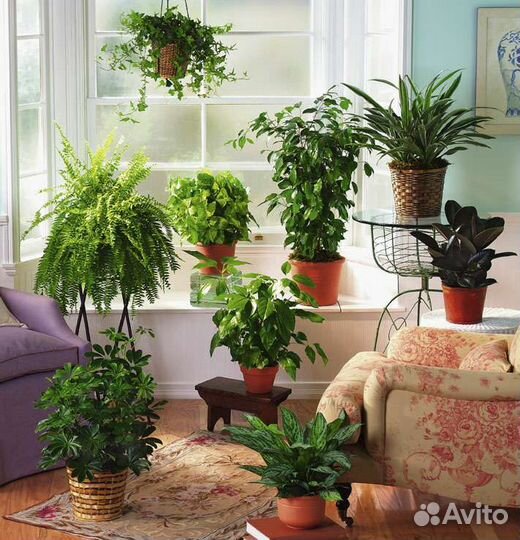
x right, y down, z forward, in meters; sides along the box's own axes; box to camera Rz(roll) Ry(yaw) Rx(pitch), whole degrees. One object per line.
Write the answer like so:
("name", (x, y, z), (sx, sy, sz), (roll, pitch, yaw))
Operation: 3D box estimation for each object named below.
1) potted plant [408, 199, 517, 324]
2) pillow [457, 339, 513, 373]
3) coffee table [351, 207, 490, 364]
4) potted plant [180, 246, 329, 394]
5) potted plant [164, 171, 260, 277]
("potted plant", (0.834, -0.034, 2.180), (0.347, 0.529, 0.427), (2, 6, 33))
("pillow", (0.698, 0.241, 1.670), (0.123, 0.042, 0.155), (-25, -4, 4))
("coffee table", (0.753, 0.022, 2.892), (0.895, 0.769, 0.761), (2, 16, 6))
("potted plant", (-0.010, 0.245, 2.681), (0.778, 0.597, 0.798), (1, 3, 1))
("potted plant", (-0.274, -0.314, 3.275), (0.640, 0.584, 0.706), (8, 14, 41))
